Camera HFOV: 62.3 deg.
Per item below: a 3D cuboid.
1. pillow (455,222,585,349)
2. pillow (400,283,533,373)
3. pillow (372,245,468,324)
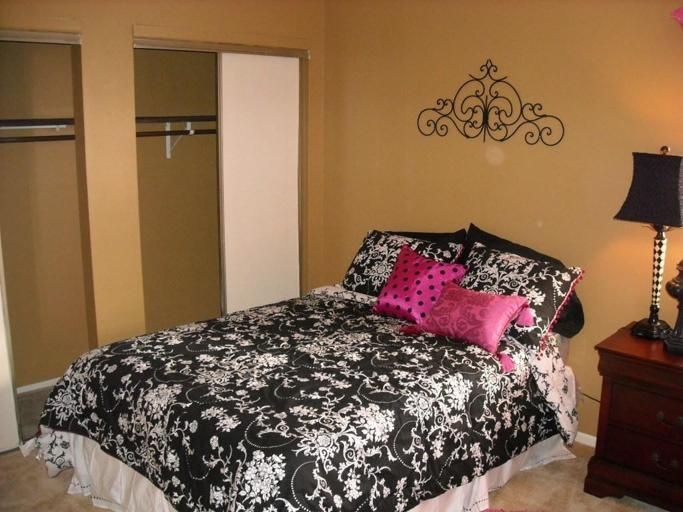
[{"bbox_3d":[1.207,0.246,3.502,0.676,0.656,0.202,20,-7,43],"label":"pillow"},{"bbox_3d":[0.751,0.351,3.286,0.701,0.205,0.668,10,36,29],"label":"pillow"},{"bbox_3d":[0.465,0.229,3.529,0.444,0.450,0.137,24,-10,48],"label":"pillow"}]
